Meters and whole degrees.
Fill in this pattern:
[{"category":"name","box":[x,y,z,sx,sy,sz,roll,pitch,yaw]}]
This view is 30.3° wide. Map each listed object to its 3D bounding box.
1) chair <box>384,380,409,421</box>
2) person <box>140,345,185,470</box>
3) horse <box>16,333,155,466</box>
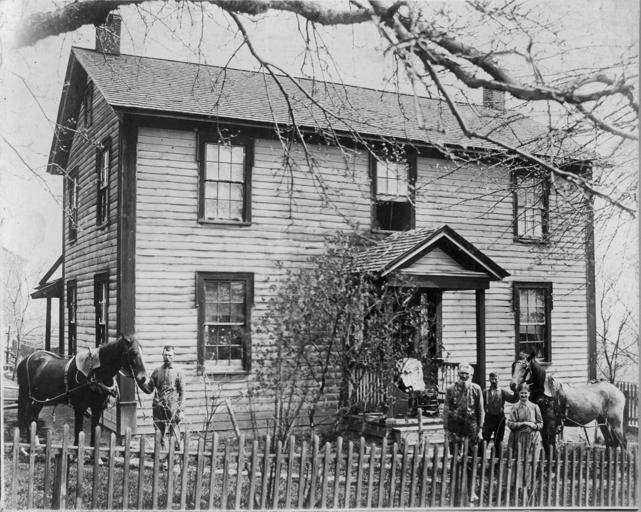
[{"category":"chair","box":[1.691,3.102,24.886,0.634,0.898,0.924,-3,-1,2]},{"category":"person","box":[-3.129,2.951,23.860,0.812,2.471,1.168,2,-12,-7]},{"category":"horse","box":[-5.013,2.861,24.487,3.220,2.325,0.940,0,0,27]}]
